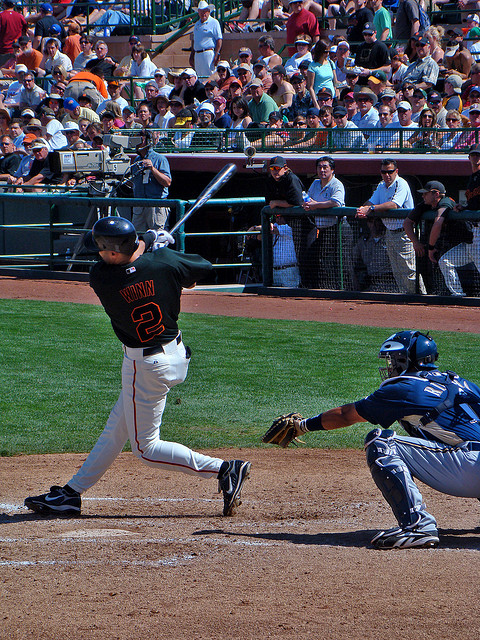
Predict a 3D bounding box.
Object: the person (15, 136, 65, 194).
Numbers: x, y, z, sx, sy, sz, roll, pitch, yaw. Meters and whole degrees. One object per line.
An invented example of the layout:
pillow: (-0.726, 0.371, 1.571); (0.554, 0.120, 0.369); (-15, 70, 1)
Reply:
person: (-2.556, -1.944, 14.978); (0.652, 0.717, 2.354); (-3, 10, -10)

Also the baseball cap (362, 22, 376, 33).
baseball cap: (1.687, -3.873, 15.531); (0.202, 0.151, 0.307); (-2, 9, 18)

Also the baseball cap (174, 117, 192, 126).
baseball cap: (-0.773, -2.705, 15.995); (0.252, 0.100, 0.147); (-6, 12, -25)

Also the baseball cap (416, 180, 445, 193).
baseball cap: (1.958, -1.355, 11.926); (0.214, 0.099, 0.130); (8, 6, 5)

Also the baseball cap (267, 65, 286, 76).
baseball cap: (0.502, -3.298, 15.535); (0.229, 0.112, 0.140); (2, 8, -23)

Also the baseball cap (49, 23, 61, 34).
baseball cap: (-3.163, -4.988, 20.156); (0.160, 0.191, 0.542); (-2, 10, -5)

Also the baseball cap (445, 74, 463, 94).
baseball cap: (2.633, -2.890, 14.431); (0.167, 0.240, 0.124); (-31, -18, -43)

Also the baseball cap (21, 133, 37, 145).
baseball cap: (-2.915, -2.517, 16.275); (0.183, 0.131, 0.247); (-11, 11, 12)

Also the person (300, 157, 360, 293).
person: (0.997, -1.027, 12.834); (0.613, 1.493, 0.446); (3, 13, 22)

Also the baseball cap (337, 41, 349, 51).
baseball cap: (1.400, -3.708, 15.902); (0.140, 0.094, 0.130); (2, 14, 5)

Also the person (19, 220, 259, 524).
person: (-0.502, 0.274, 5.960); (1.076, 1.586, 0.423); (-2, 12, -2)

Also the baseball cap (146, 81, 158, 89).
baseball cap: (-1.282, -3.490, 17.376); (0.232, 0.151, 0.221); (2, 15, 0)

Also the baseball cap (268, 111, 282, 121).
baseball cap: (0.480, -2.645, 15.247); (0.141, 0.120, 0.214); (8, 14, 41)

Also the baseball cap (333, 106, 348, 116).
baseball cap: (1.205, -2.564, 14.430); (0.245, 0.115, 0.156); (8, 14, 40)

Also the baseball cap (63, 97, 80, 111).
baseball cap: (-2.347, -3.007, 16.390); (0.125, 0.150, 0.246); (-26, 13, 8)

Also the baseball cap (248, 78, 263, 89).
baseball cap: (0.194, -3.068, 15.182); (0.177, 0.121, 0.248); (-7, -3, 15)
